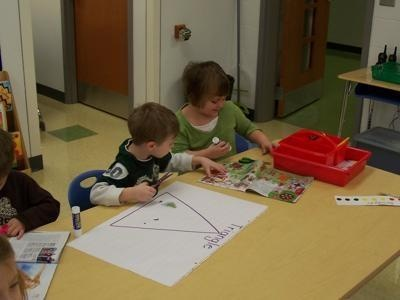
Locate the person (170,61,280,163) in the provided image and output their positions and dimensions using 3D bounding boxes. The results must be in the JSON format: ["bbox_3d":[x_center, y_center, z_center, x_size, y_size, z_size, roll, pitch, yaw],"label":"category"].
[{"bbox_3d":[0.114,-0.136,2.025,0.590,0.814,0.485,-9,28,-9],"label":"person"}]

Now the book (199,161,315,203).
[{"bbox_3d":[0.330,0.161,1.585,0.318,0.050,0.246,17,24,22],"label":"book"}]

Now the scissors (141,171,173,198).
[{"bbox_3d":[-0.194,0.145,1.490,0.048,0.046,0.188,41,80,7],"label":"scissors"}]
